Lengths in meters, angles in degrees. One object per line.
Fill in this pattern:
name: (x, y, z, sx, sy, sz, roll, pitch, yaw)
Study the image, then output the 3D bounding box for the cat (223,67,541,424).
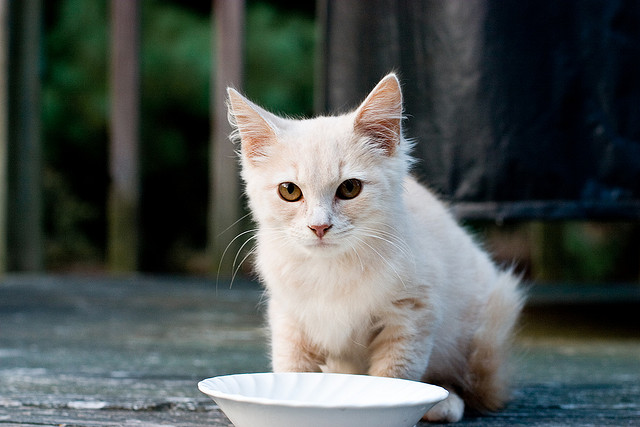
cat: (0.295, 0.442, 5.033, 1.199, 1.603, 1.974, -16, -33, 24)
